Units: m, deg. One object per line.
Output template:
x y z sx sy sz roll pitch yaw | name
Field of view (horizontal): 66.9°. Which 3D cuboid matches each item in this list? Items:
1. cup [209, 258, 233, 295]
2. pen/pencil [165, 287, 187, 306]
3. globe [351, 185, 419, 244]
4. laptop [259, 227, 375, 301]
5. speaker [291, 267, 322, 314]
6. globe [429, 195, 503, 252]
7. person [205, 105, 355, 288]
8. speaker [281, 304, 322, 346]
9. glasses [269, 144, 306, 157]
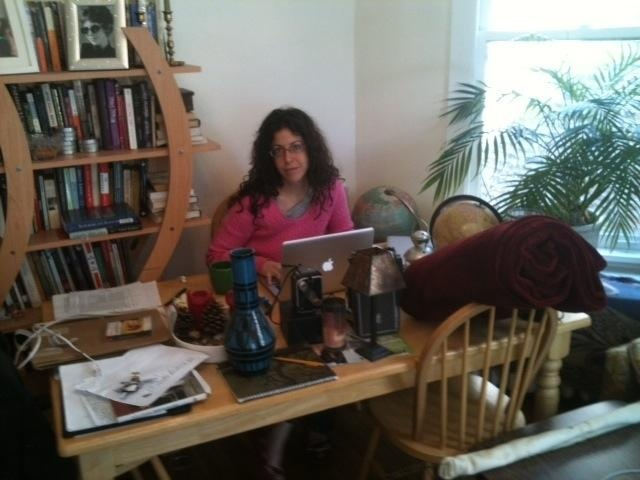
-0.389 0.154 2.002 0.140 0.149 0.138 1 11 0 | cup
-0.571 0.228 1.926 0.023 0.019 0.076 27 49 23 | pen/pencil
0.401 -0.164 2.978 0.335 0.402 0.349 3 5 5 | globe
0.006 -0.008 1.820 0.370 0.248 0.254 -7 19 -28 | laptop
-0.049 0.176 1.624 0.095 0.137 0.140 -4 8 -27 | speaker
0.619 -0.115 2.095 0.253 0.257 0.208 13 -7 20 | globe
-0.241 -0.221 2.396 0.734 0.954 0.575 -12 33 -23 | person
-0.061 0.291 1.677 0.122 0.091 0.120 -5 20 -15 | speaker
-0.155 -0.433 2.343 0.164 0.062 0.051 -6 16 -2 | glasses
